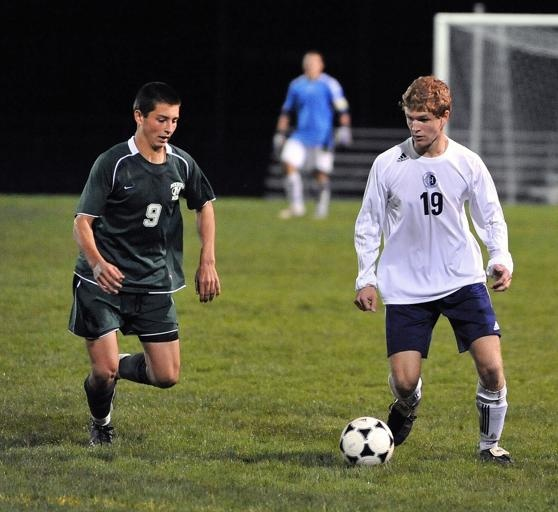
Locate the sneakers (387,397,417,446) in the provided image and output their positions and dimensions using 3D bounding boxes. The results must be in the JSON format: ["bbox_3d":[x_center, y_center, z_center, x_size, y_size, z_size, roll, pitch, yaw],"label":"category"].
[{"bbox_3d":[0.725,0.986,6.653,0.126,0.327,0.124,-11,33,-35],"label":"sneakers"}]

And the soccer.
[{"bbox_3d":[0.506,1.064,6.484,0.253,0.257,0.263,5,14,-19],"label":"soccer"}]

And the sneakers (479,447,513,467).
[{"bbox_3d":[1.269,1.166,6.436,0.144,0.055,0.089,-4,-1,37],"label":"sneakers"}]

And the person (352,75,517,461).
[{"bbox_3d":[0.913,0.079,6.387,0.947,2.184,0.404,2,10,4],"label":"person"}]

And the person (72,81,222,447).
[{"bbox_3d":[-0.793,0.039,6.564,0.891,2.111,0.364,-5,12,-32],"label":"person"}]
